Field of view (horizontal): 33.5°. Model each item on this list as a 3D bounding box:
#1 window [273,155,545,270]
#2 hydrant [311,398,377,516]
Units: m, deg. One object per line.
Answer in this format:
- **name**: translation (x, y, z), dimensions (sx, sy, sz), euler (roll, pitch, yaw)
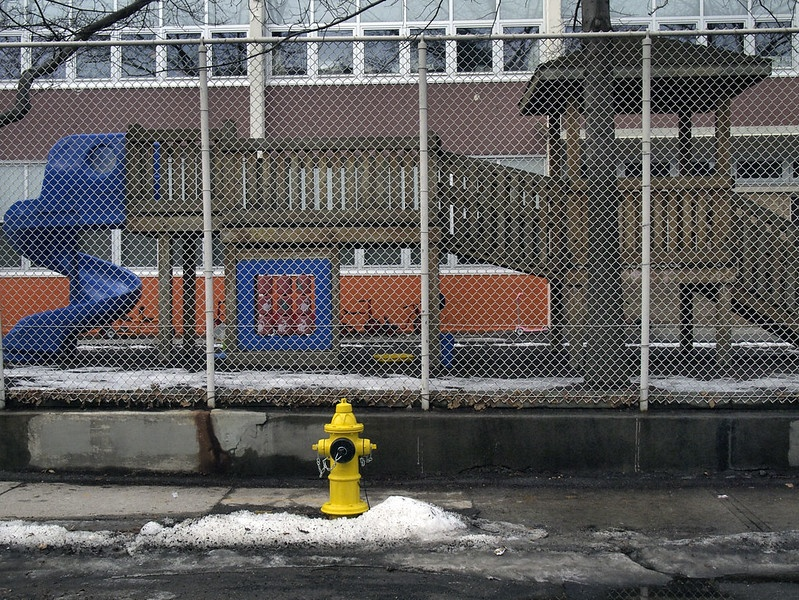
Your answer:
- **window**: translation (0.277, -1.148, 17.959), dimensions (3.502, 1.754, 0.800), euler (-2, 3, 3)
- **hydrant**: translation (-0.622, 1.772, 15.205), dimensions (0.690, 1.315, 0.838), euler (-2, 3, -2)
